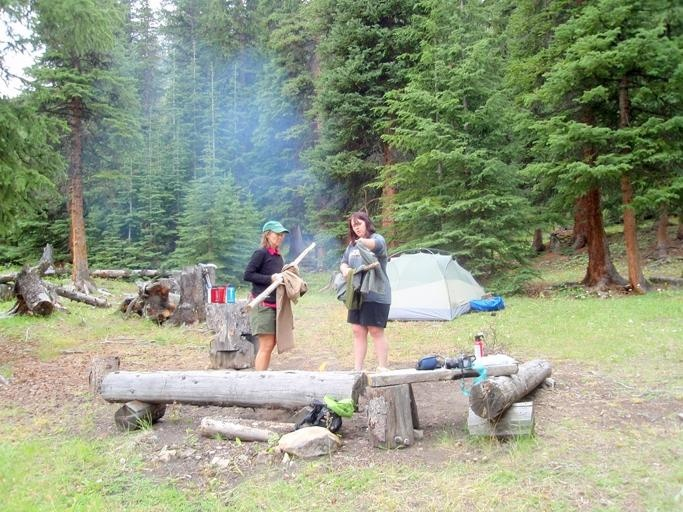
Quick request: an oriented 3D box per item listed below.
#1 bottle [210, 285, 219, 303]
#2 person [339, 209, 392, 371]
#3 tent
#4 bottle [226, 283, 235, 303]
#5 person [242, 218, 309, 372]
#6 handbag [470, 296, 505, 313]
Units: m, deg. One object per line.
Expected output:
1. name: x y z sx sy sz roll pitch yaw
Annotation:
1. bottle: -2.242 0.670 10.475 0.131 0.197 0.394 -4 12 -10
2. person: 0.349 0.658 8.782 0.701 2.509 1.194 -1 12 1
3. tent: 2.047 0.720 14.357 1.718 0.828 1.767 0 6 26
4. bottle: -1.954 0.686 10.529 0.214 0.423 0.232 0 2 0
5. person: -1.090 0.709 9.117 0.748 2.426 1.093 -4 12 -10
6. handbag: 3.490 1.198 14.464 0.592 0.228 0.435 -5 1 28
